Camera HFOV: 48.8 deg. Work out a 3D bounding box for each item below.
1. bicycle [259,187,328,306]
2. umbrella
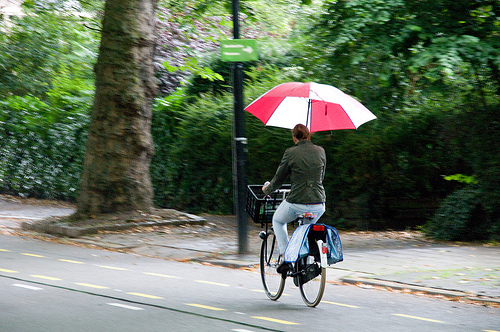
[{"bbox_3d":[0.659,1.328,8.963,0.804,1.792,1.376,-1,6,-24],"label":"bicycle"},{"bbox_3d":[1.081,-1.107,10.393,1.995,0.941,1.077,6,6,42],"label":"umbrella"}]
